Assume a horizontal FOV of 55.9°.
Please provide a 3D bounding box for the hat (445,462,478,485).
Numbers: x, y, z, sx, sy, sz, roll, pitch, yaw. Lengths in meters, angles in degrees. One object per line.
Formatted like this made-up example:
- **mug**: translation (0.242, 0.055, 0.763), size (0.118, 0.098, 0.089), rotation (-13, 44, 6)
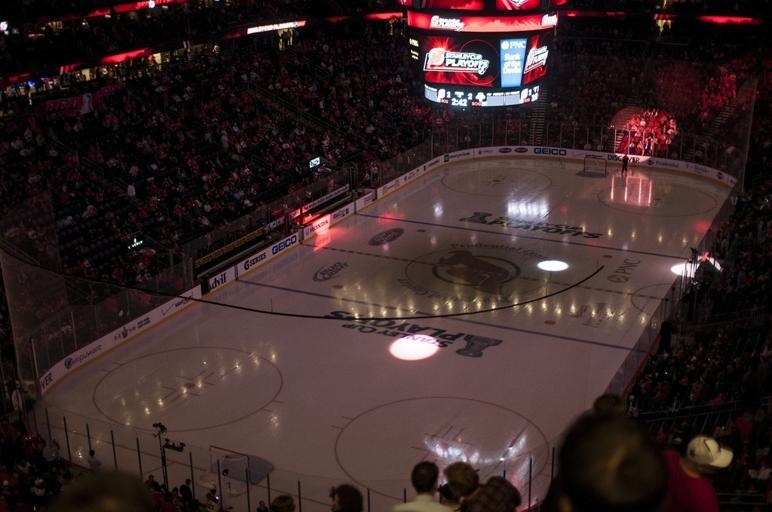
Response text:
- **hat**: translation (1.337, 3.697, 12.677), size (0.555, 0.354, 0.756), rotation (5, 17, 4)

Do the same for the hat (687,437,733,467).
- **hat**: translation (5.177, 3.100, 11.575), size (0.754, 0.456, 0.380), rotation (9, -19, 5)
